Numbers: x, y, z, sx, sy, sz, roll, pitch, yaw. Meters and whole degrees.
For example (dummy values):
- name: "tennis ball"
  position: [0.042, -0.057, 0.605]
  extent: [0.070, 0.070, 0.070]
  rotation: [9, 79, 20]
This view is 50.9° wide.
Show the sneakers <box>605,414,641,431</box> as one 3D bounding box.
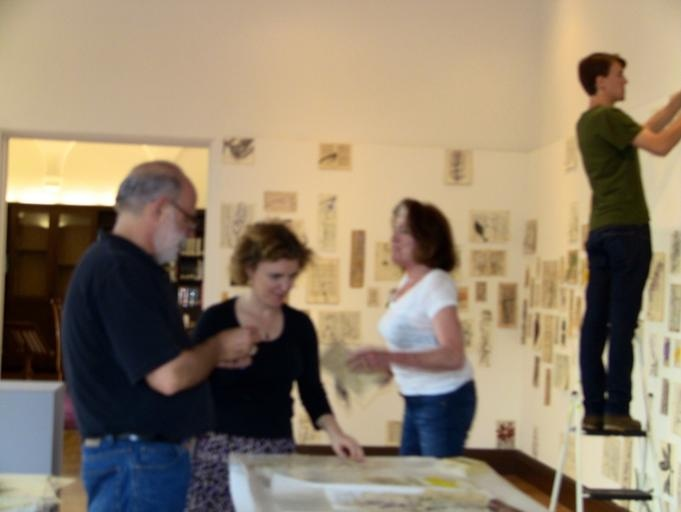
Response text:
- name: "sneakers"
  position: [1.479, 0.880, 3.792]
  extent: [0.206, 0.119, 0.081]
  rotation: [-1, -8, 5]

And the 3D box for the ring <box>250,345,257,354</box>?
- name: "ring"
  position: [-0.356, 0.389, 2.949]
  extent: [0.009, 0.037, 0.036]
  rotation: [5, -12, 13]

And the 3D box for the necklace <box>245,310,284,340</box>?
- name: "necklace"
  position: [-0.319, 0.297, 3.131]
  extent: [0.125, 0.133, 0.044]
  rotation: [-2, -11, -6]

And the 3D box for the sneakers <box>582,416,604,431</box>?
- name: "sneakers"
  position: [1.344, 0.899, 3.804]
  extent: [0.055, 0.057, 0.130]
  rotation: [1, -14, -1]
